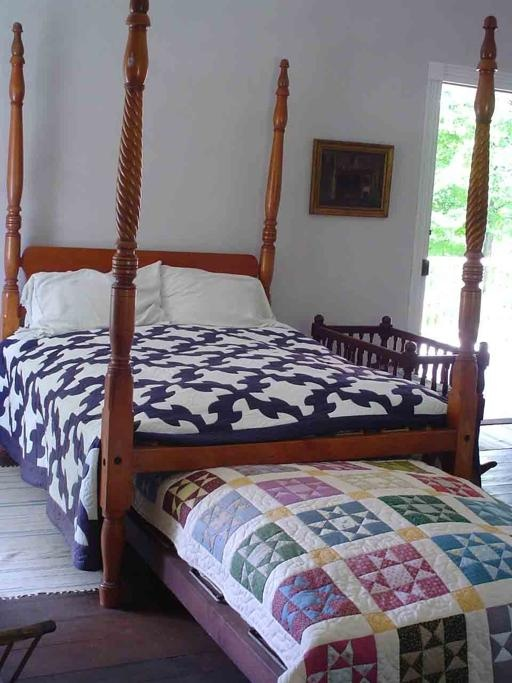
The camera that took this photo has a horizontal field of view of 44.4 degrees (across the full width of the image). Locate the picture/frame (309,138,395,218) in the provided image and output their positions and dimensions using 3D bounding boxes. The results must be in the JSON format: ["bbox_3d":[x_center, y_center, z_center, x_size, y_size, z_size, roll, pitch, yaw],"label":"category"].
[{"bbox_3d":[0.570,-1.031,3.903,0.541,0.435,0.041,2,10,-20],"label":"picture/frame"}]
